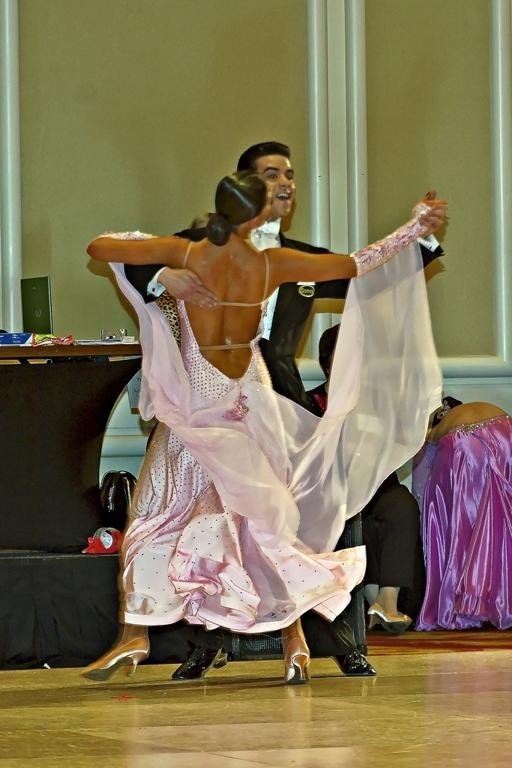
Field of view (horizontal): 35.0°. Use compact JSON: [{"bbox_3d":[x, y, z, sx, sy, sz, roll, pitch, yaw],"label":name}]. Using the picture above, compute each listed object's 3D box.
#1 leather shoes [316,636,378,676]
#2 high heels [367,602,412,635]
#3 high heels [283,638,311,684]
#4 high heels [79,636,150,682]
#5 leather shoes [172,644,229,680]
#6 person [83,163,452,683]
[{"bbox_3d":[0.237,0.688,2.033,0.049,0.047,0.130,18,-9,-33],"label":"leather shoes"},{"bbox_3d":[0.412,0.734,2.520,0.074,0.089,0.203,-12,-17,42],"label":"high heels"},{"bbox_3d":[0.098,0.642,1.898,0.041,0.042,0.104,-3,25,-6],"label":"high heels"},{"bbox_3d":[-0.336,0.656,1.911,0.167,0.110,0.089,-1,1,-22],"label":"high heels"},{"bbox_3d":[-0.140,0.702,2.070,0.055,0.062,0.154,-5,-2,44],"label":"leather shoes"},{"bbox_3d":[0.056,0.070,2.134,0.996,1.212,0.489,-1,1,-8],"label":"person"}]
